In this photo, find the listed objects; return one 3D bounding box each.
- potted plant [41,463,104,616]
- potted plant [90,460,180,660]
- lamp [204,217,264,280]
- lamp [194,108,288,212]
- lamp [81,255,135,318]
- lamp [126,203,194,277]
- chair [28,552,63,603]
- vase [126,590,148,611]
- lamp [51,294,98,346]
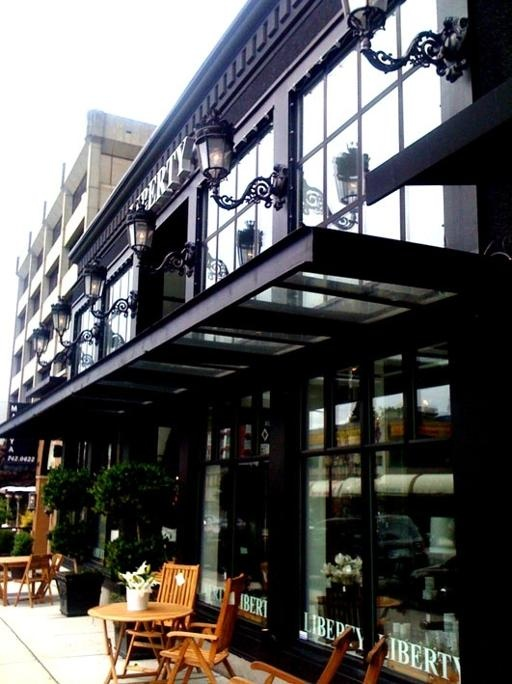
[{"bbox_3d":[-3.256,3.510,11.243,0.844,2.547,0.970,2,-14,-42],"label":"potted plant"},{"bbox_3d":[-1.709,2.587,8.771,1.124,1.656,0.963,-18,-26,36],"label":"potted plant"},{"bbox_3d":[-0.158,-1.150,7.903,1.138,0.496,0.241,14,19,19],"label":"lamp"},{"bbox_3d":[-0.168,-1.741,5.810,0.843,0.546,1.163,15,-51,14],"label":"lamp"},{"bbox_3d":[-2.425,-0.942,10.344,0.822,0.365,1.303,1,-61,-17],"label":"lamp"},{"bbox_3d":[-1.229,-1.308,7.697,0.713,1.152,0.445,-2,-30,-4],"label":"lamp"},{"bbox_3d":[-4.095,4.432,11.564,0.724,0.905,0.737,-11,-18,5],"label":"chair"},{"bbox_3d":[-1.188,2.572,6.245,0.208,0.202,0.241,3,-12,-7],"label":"vase"},{"bbox_3d":[-3.547,-0.465,12.181,0.839,1.262,0.351,-4,25,-29],"label":"lamp"}]
